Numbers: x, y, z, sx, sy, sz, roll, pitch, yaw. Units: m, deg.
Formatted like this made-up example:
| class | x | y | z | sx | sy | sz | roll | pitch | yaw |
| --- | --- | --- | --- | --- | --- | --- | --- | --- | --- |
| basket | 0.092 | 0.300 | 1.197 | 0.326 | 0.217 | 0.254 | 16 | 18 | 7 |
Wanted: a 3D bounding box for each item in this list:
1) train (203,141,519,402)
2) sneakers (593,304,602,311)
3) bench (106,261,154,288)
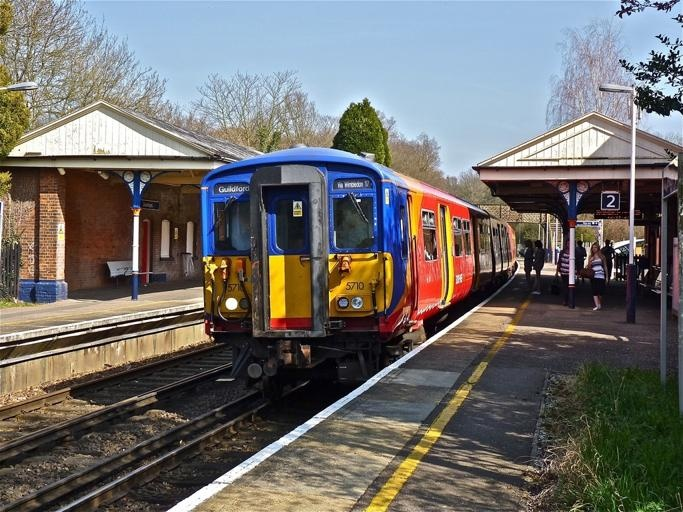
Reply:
| class | x | y | z | sx | sy | sz | roll | pitch | yaw |
| --- | --- | --- | --- | --- | --- | --- | --- | --- | --- |
| train | 2.373 | 0.257 | 16.175 | 2.443 | 3.806 | 15.092 | -14 | -6 | 22 |
| sneakers | 8.224 | 1.637 | 19.312 | 0.152 | 0.261 | 0.540 | -4 | -4 | 24 |
| bench | -9.133 | 0.695 | 25.702 | 0.707 | 1.063 | 2.453 | 1 | 2 | 12 |
